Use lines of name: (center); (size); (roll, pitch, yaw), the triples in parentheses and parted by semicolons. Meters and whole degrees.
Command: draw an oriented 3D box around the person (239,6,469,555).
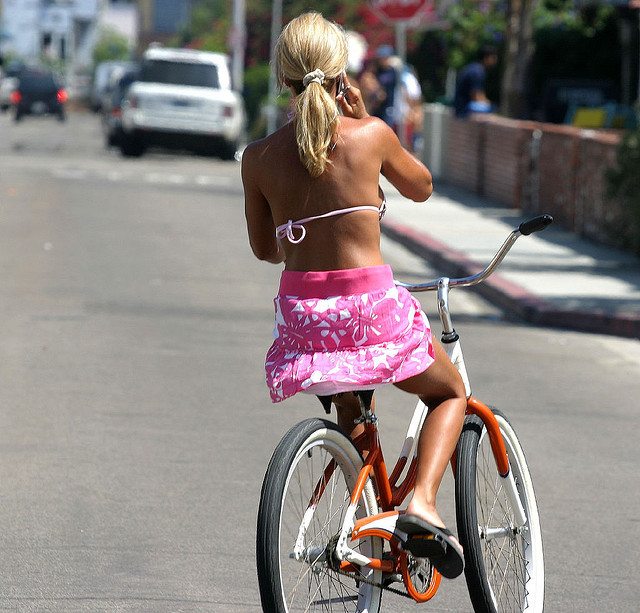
person: (0.116, -0.106, 4.994); (0.816, 1.778, 0.499); (2, 10, 5)

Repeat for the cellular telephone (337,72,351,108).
cellular telephone: (0.081, -0.752, 4.960); (0.022, 0.111, 0.029); (10, -22, -17)
